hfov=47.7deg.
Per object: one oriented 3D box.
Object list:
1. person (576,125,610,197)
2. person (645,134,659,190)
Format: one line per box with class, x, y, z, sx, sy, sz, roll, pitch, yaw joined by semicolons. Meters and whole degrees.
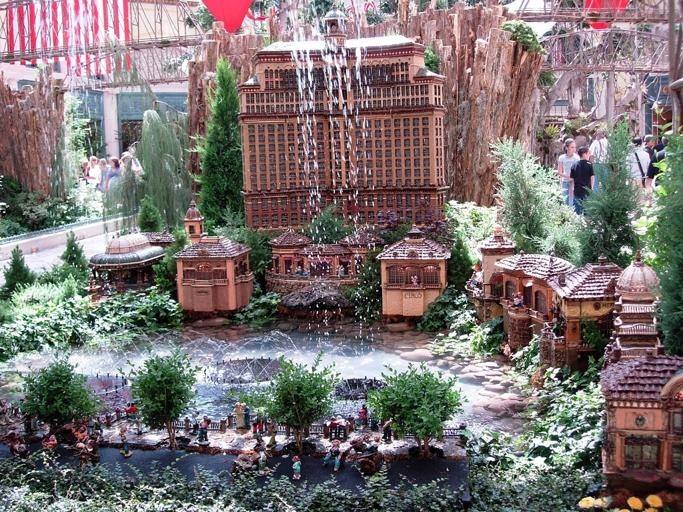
person;6.898;-2.579;20.688;0.462;1.469;3.570;3;12;17
person;8.231;-2.540;20.364;0.349;1.318;3.766;3;13;22
